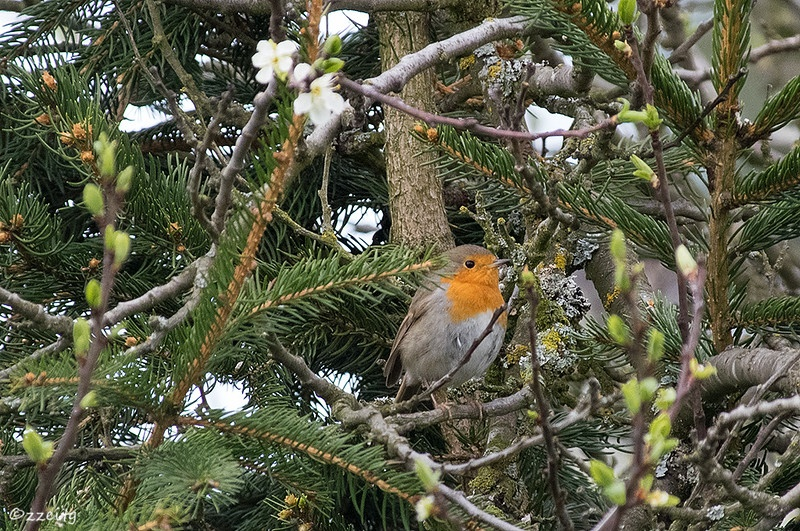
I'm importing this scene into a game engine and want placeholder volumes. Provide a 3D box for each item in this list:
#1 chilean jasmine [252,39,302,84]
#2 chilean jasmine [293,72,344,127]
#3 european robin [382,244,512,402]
[{"bbox_3d":[-0.568,-0.934,5.207,0.147,0.209,0.256,1,93,11],"label":"chilean jasmine"},{"bbox_3d":[-0.367,-0.751,5.218,0.155,0.156,0.315,-5,101,-16],"label":"chilean jasmine"},{"bbox_3d":[0.273,0.325,7.566,0.984,0.720,1.411,3,90,23],"label":"european robin"}]
